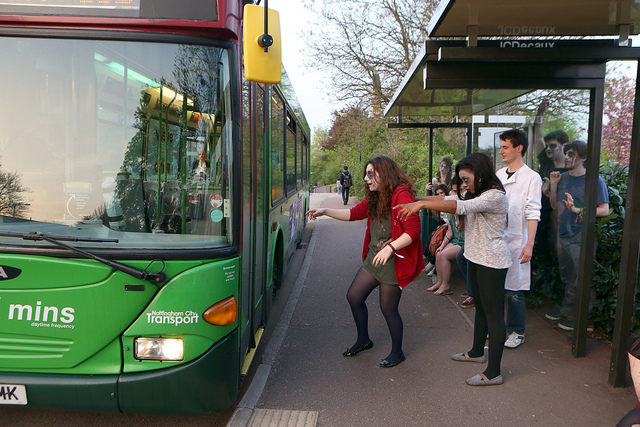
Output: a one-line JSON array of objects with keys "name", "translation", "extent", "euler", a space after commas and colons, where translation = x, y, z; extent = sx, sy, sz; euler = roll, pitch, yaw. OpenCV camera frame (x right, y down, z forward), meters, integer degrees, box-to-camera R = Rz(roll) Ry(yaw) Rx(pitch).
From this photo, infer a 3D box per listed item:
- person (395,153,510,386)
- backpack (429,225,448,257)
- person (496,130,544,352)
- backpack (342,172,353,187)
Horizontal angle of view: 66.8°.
[{"name": "person", "translation": [1.642, 0.634, 5.448], "extent": [0.943, 2.549, 0.717], "euler": [1, 10, 8]}, {"name": "backpack", "translation": [2.053, 0.457, 8.414], "extent": [0.155, 0.474, 0.286], "euler": [25, -4, -12]}, {"name": "person", "translation": [2.567, 0.345, 6.500], "extent": [0.733, 2.796, 0.887], "euler": [-4, 7, -20]}, {"name": "backpack", "translation": [1.399, -1.648, 24.579], "extent": [0.350, 0.615, 0.583], "euler": [1, -10, -2]}]
